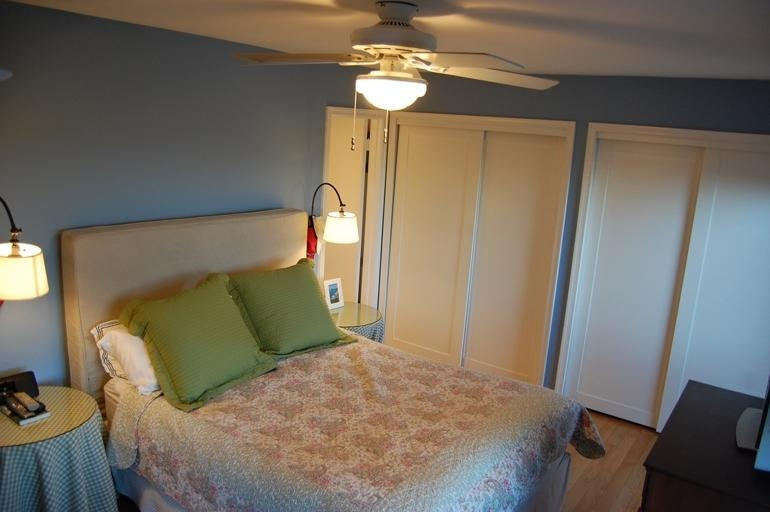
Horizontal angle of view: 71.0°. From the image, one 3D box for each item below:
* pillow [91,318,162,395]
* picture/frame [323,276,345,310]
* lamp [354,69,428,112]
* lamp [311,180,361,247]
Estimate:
[{"bbox_3d":[-1.671,0.642,3.455,0.123,0.415,0.408,-27,-25,24],"label":"pillow"},{"bbox_3d":[-0.469,0.335,4.845,0.020,0.273,0.222,7,21,37],"label":"picture/frame"},{"bbox_3d":[0.022,-0.870,2.860,0.416,0.201,0.412,-6,17,-32],"label":"lamp"},{"bbox_3d":[-0.475,-0.401,4.779,0.553,0.486,0.303,11,14,40],"label":"lamp"}]
